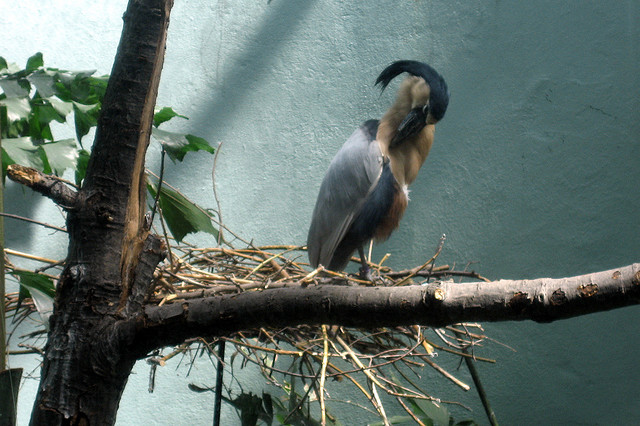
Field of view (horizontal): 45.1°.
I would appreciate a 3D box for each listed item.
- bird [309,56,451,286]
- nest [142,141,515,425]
[{"bbox_3d":[0.211,-0.129,2.600,0.560,0.721,0.186,-16,-23,29],"label":"bird"},{"bbox_3d":[-0.014,0.194,2.602,1.117,1.066,0.928,0,-20,-13],"label":"nest"}]
